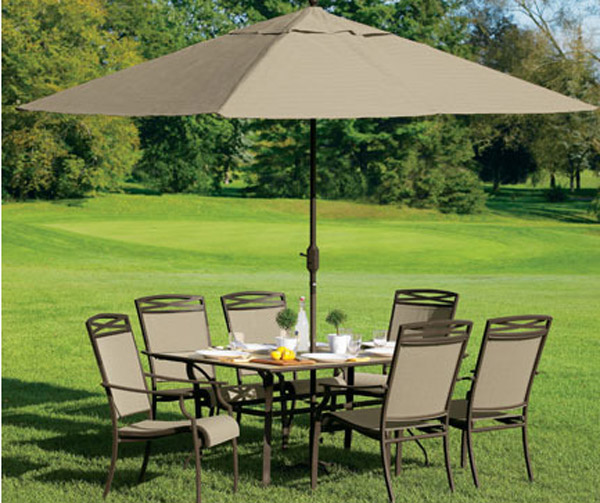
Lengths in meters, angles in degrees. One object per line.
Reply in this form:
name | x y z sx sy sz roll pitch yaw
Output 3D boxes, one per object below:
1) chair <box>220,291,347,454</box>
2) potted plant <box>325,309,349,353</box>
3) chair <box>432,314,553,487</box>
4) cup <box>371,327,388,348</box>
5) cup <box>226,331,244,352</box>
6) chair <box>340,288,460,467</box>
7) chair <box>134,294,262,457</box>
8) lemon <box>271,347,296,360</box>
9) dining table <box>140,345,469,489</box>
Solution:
chair | -0.134 1.003 9.782 1.159 2.084 1.398 2 -4 -39
potted plant | 0.351 0.702 8.883 0.219 0.429 0.271 -1 2 -11
chair | 1.610 1.298 8.804 0.970 1.596 1.152 1 2 -22
cup | 0.765 0.790 9.037 0.133 0.179 0.138 0 -3 0
cup | -0.575 0.813 8.793 0.147 0.181 0.160 0 -6 0
chair | 1.028 0.920 9.962 1.146 1.740 0.987 2 0 -41
chair | -0.855 0.950 9.666 1.030 1.920 1.299 -1 -3 -42
lemon | -0.145 0.890 8.534 0.155 0.081 0.116 -2 3 -28
dining table | -0.206 1.123 8.443 1.657 0.894 1.740 1 -4 -30
